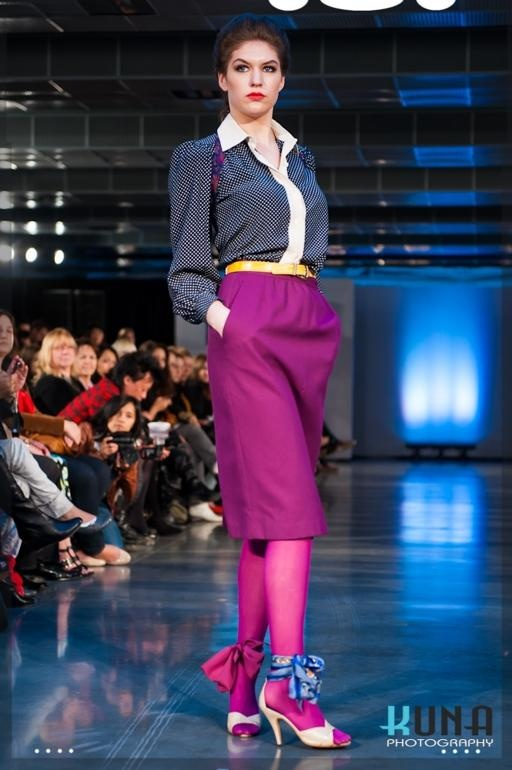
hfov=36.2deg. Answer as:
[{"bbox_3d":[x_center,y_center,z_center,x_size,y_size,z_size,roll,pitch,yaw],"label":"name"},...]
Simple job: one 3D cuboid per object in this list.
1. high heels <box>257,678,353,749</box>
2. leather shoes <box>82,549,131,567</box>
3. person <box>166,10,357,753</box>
[{"bbox_3d":[0.082,0.602,1.465,0.221,0.142,0.082,-1,-4,8],"label":"high heels"},{"bbox_3d":[-0.716,0.818,3.712,0.169,0.062,0.097,7,-8,-26],"label":"leather shoes"},{"bbox_3d":[0.009,-0.015,1.518,0.407,1.043,0.286,3,-1,3],"label":"person"}]
